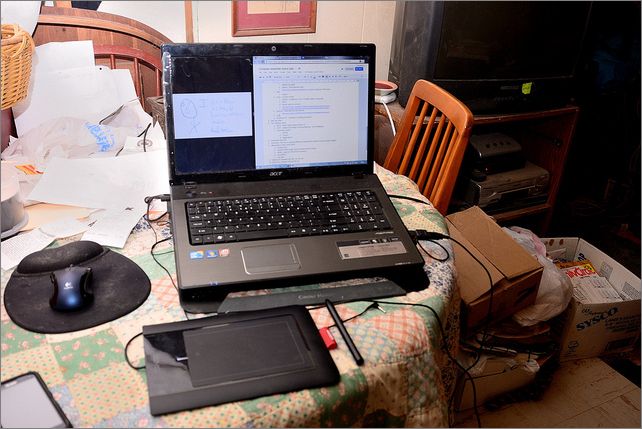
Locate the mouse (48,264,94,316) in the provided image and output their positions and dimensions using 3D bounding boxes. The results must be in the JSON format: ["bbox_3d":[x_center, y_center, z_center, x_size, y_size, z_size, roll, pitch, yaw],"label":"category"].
[{"bbox_3d":[-0.555,0.149,0.971,0.084,0.046,0.145,-5,40,-25],"label":"mouse"}]

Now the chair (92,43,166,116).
[{"bbox_3d":[-0.886,-0.645,2.137,0.277,0.341,0.255,-16,10,-40],"label":"chair"}]
